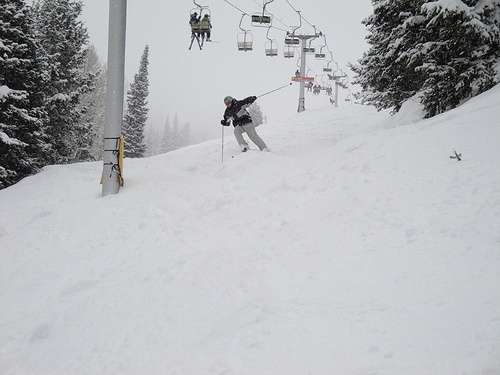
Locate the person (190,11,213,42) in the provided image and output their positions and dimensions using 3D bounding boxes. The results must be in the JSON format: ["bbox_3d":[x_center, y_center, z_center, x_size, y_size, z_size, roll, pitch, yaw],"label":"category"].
[{"bbox_3d":[-2.239,-7.349,19.699,0.922,1.339,2.025,-5,14,-6],"label":"person"}]

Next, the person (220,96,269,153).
[{"bbox_3d":[-0.228,-2.141,14.564,1.462,1.787,1.105,5,15,33],"label":"person"}]
